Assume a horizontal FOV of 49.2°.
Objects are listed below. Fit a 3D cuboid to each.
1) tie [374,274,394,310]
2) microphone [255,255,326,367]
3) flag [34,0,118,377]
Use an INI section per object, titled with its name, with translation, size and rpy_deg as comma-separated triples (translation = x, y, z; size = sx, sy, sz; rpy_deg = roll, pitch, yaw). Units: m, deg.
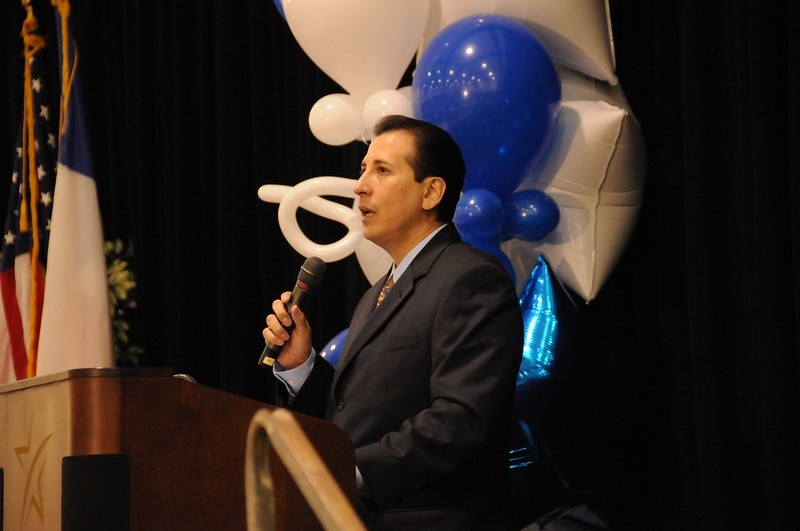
[tie]
translation = -0.055, 0.108, 3.292
size = 0.059, 0.024, 0.249
rpy_deg = -24, 10, 14
[microphone]
translation = -0.478, 0.206, 3.937
size = 0.115, 0.596, 0.127
rpy_deg = 14, -14, 44
[flag]
translation = -1.788, -0.249, 4.892
size = 0.370, 1.949, 0.308
rpy_deg = 1, 0, -22
